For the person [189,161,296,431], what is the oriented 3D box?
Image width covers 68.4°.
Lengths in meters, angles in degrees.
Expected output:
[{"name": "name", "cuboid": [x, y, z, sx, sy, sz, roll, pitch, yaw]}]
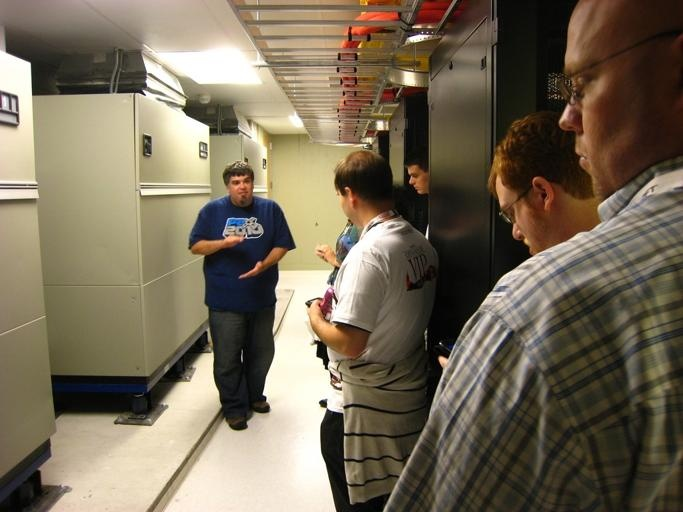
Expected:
[{"name": "person", "cuboid": [-0.695, 0.219, 3.471, 0.578, 1.715, 0.559, 9, 8, 27]}]

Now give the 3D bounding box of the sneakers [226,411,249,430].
[{"name": "sneakers", "cuboid": [-0.678, 1.077, 3.261, 0.129, 0.076, 0.091, 3, 8, -15]}]

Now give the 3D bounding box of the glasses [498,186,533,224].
[{"name": "glasses", "cuboid": [0.410, -0.117, 1.191, 0.018, 0.064, 0.064, 24, 18, 29]}]
